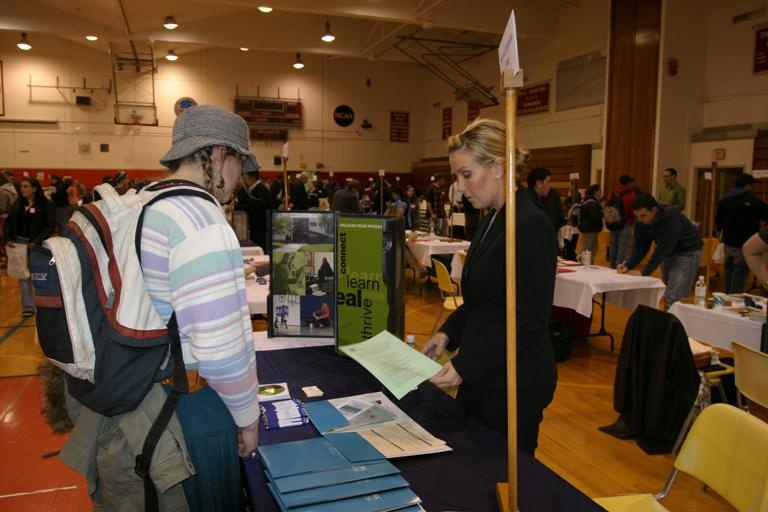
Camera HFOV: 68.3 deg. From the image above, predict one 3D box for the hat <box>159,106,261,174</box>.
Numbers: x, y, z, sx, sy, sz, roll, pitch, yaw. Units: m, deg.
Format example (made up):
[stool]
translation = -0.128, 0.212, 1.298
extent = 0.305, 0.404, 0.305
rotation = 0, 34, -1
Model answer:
[hat]
translation = -0.778, -0.502, 2.495
extent = 0.346, 0.235, 0.263
rotation = -3, 11, -20

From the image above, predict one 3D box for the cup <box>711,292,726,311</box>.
[cup]
translation = 2.742, 0.391, 4.743
extent = 0.113, 0.137, 0.120
rotation = 4, -9, 1

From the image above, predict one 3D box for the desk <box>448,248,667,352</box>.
[desk]
translation = 1.871, 0.449, 6.013
extent = 1.689, 0.898, 1.032
rotation = 15, 1, -19
